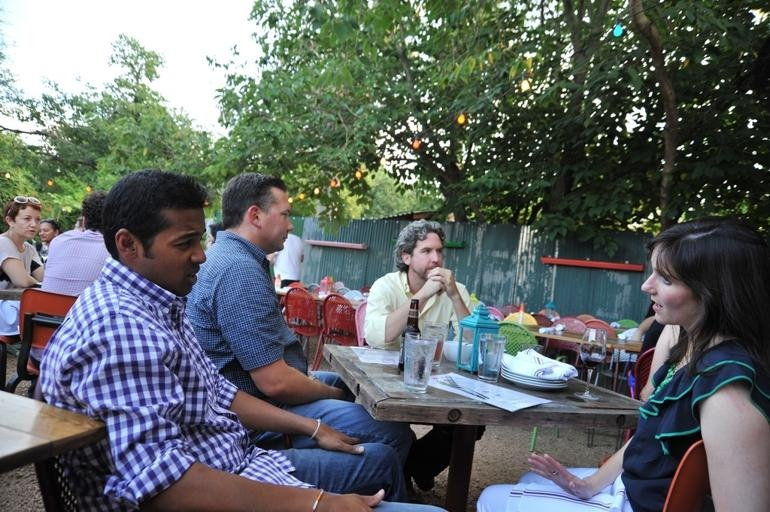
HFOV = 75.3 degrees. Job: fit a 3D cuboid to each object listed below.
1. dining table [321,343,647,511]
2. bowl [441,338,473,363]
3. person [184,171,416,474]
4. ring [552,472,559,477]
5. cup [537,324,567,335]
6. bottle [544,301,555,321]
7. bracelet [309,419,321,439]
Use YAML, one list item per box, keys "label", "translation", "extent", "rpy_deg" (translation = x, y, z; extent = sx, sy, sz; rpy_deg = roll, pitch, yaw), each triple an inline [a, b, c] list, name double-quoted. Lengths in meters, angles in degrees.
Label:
- label: "dining table"
  translation: [0.396, 0.728, 2.343]
  extent: [1.053, 0.691, 1.107]
  rpy_deg: [4, -6, -9]
- label: "bowl"
  translation: [0.424, 0.568, 2.968]
  extent: [0.130, 0.078, 0.132]
  rpy_deg: [1, -7, 0]
- label: "person"
  translation: [-0.556, 0.630, 3.046]
  extent: [1.322, 2.086, 0.974]
  rpy_deg: [2, 7, -22]
- label: "ring"
  translation: [0.760, 0.967, 2.200]
  extent: [0.038, 0.020, 0.009]
  rpy_deg: [1, -6, -9]
- label: "cup"
  translation: [1.842, 0.818, 5.464]
  extent: [0.198, 0.063, 0.150]
  rpy_deg: [-2, 0, -30]
- label: "bottle"
  translation: [2.505, 0.844, 7.544]
  extent: [0.181, 0.268, 0.180]
  rpy_deg: [-1, 2, 0]
- label: "bracelet"
  translation: [-0.320, 0.817, 2.355]
  extent: [0.021, 0.071, 0.074]
  rpy_deg: [16, 8, -8]
